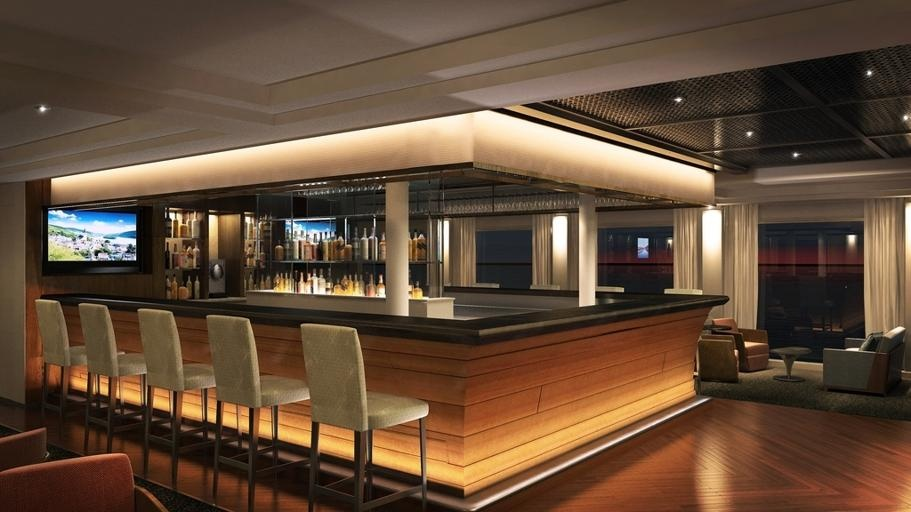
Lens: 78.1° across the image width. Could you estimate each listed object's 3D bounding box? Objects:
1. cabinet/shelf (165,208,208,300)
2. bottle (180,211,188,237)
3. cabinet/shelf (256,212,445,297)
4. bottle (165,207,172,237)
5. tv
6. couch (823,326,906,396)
[{"bbox_3d":[-4.962,-0.117,10.242,0.752,1.333,0.456,0,7,-40],"label":"cabinet/shelf"},{"bbox_3d":[-5.012,-0.562,10.351,0.149,0.433,0.236,-2,8,-24],"label":"bottle"},{"bbox_3d":[-1.711,0.030,9.109,4.347,1.169,0.570,0,2,34],"label":"cabinet/shelf"},{"bbox_3d":[-5.191,-0.590,10.146,0.131,0.511,0.345,-2,8,-24],"label":"bottle"},{"bbox_3d":[-5.893,-0.274,9.060,1.529,0.853,0.152,0,4,-37],"label":"tv"},{"bbox_3d":[7.474,1.687,10.350,1.284,1.052,1.829,-3,-5,40],"label":"couch"}]
